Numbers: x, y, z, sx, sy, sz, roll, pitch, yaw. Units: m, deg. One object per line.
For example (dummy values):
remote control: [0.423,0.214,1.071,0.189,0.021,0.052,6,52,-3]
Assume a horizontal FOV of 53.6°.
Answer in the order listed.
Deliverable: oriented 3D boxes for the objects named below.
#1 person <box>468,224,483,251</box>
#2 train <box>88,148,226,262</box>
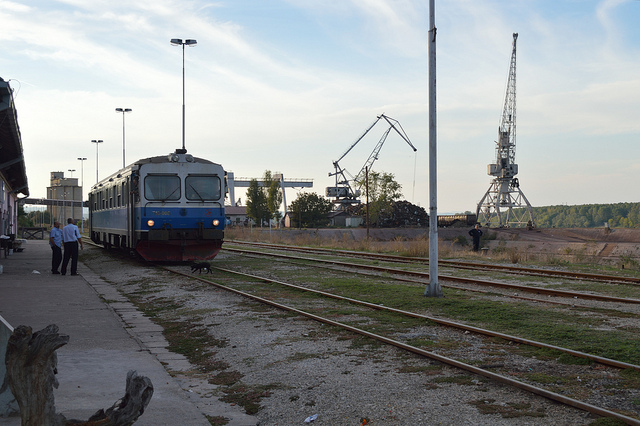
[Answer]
person: [8.668,1.391,35.484,0.588,1.345,1.718,1,5,14]
train: [-8.054,-0.318,30.515,4.351,3.738,13.080,0,1,-20]
